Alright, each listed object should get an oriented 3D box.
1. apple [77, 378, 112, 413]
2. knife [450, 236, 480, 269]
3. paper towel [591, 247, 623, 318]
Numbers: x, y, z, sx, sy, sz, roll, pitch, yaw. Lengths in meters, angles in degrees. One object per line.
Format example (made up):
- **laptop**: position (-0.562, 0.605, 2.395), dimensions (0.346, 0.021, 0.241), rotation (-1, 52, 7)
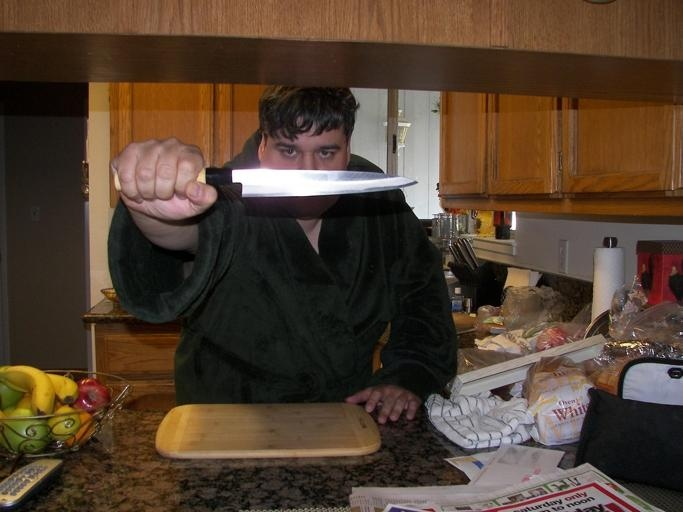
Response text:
- **apple**: position (-0.520, 0.290, 1.233), dimensions (0.061, 0.059, 0.062), rotation (-15, 8, 4)
- **knife**: position (0.630, -0.011, 3.096), dimensions (0.051, 0.186, 0.121), rotation (-36, 22, 1)
- **paper towel**: position (0.856, 0.082, 1.921), dimensions (0.091, 0.226, 0.170), rotation (3, 11, 23)
